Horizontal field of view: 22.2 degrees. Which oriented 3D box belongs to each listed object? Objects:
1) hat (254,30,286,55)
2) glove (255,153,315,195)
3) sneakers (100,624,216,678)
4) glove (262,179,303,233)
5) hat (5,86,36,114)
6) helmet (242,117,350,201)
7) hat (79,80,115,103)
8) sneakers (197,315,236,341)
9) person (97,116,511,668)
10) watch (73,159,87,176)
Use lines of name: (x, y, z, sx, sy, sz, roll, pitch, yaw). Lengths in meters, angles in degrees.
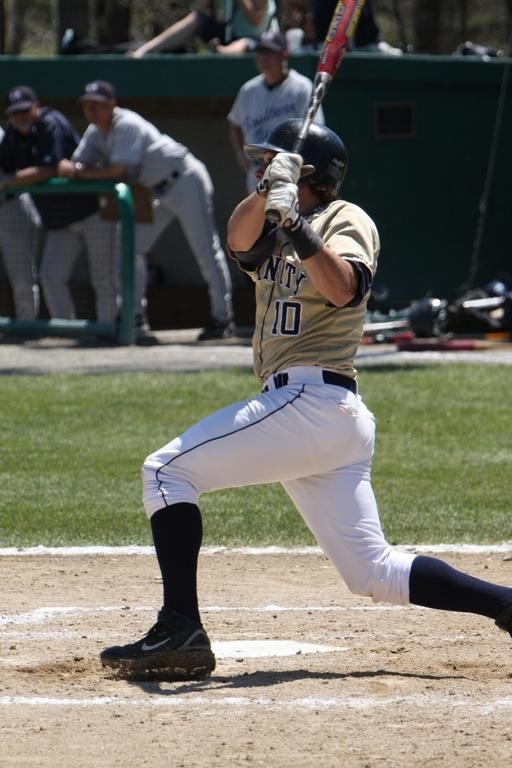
hat: (0.079, -1.729, 6.605, 0.107, 0.069, 0.139, 4, 1, 21)
glove: (0.055, -0.443, 2.721, 0.088, 0.042, 0.111, -12, -18, -25)
sneakers: (-0.200, 0.568, 2.853, 0.287, 0.125, 0.098, -8, -11, 25)
glove: (0.054, -0.363, 2.629, 0.065, 0.042, 0.102, 11, 46, -5)
hat: (-0.995, -1.181, 5.461, 0.116, 0.081, 0.148, -9, 21, 30)
helmet: (0.094, -0.539, 2.955, 0.240, 0.119, 0.170, 22, 5, 4)
hat: (-0.712, -1.329, 5.882, 0.107, 0.069, 0.142, -3, -5, 37)
sneakers: (-0.208, -0.298, 7.043, 0.211, 0.115, 0.106, 0, -3, -10)
person: (0.126, 0.029, 2.839, 0.825, 1.232, 0.416, 3, 6, 19)
watch: (-0.726, -0.887, 5.355, 0.056, 0.027, 0.071, -28, 57, -29)
